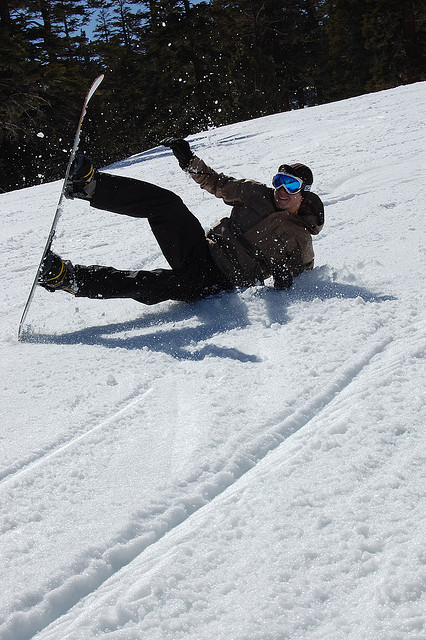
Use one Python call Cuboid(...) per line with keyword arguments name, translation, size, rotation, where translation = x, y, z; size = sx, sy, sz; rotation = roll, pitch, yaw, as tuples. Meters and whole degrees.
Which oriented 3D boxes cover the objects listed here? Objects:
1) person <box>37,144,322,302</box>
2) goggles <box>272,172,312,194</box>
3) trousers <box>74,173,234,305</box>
Cuboid(name="person", translation=(-0.123, -0.423, 3.756), size=(1.544, 0.538, 1.042), rotation=(0, 48, -10))
Cuboid(name="goggles", translation=(0.422, -0.737, 3.813), size=(0.147, 0.065, 0.122), rotation=(16, 10, -46))
Cuboid(name="trousers", translation=(-0.258, -0.380, 3.732), size=(0.863, 0.565, 0.241), rotation=(10, -11, -20))
